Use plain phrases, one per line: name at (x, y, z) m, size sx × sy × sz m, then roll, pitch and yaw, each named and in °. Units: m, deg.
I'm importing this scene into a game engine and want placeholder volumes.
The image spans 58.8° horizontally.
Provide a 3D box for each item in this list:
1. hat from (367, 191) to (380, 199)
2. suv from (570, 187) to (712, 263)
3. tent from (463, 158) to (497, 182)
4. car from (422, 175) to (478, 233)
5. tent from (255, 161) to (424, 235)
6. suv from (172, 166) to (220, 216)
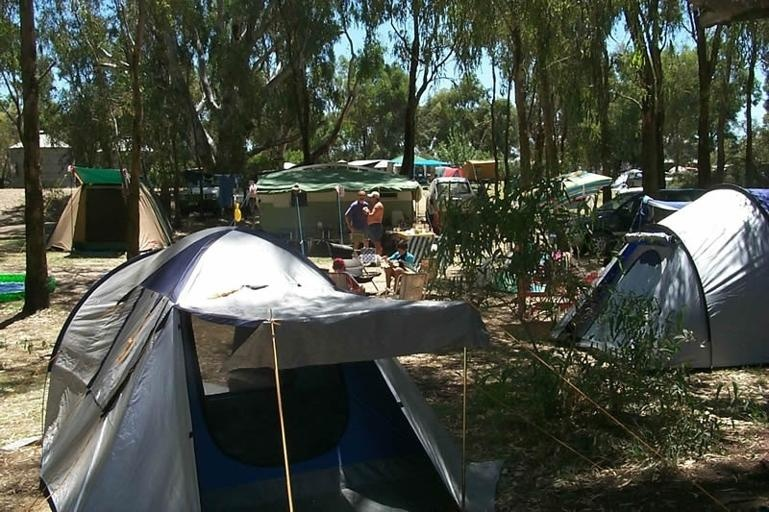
hat at (-0.348, -1.663, 18.478) m, size 0.319 × 0.147 × 0.241 m, roll 6°, pitch 7°, yaw 13°
suv at (4.713, -0.568, 12.609) m, size 2.555 × 1.524 × 1.681 m, roll 0°, pitch 8°, yaw 2°
tent at (5.368, -4.917, 39.200) m, size 1.465 × 1.059 × 3.293 m, roll 2°, pitch 8°, yaw 19°
car at (1.539, -1.524, 17.952) m, size 1.461 × 1.793 × 3.050 m, roll -3°, pitch 6°, yaw -6°
tent at (-1.708, -1.737, 20.923) m, size 2.731 × 1.841 × 2.931 m, roll -5°, pitch 10°, yaw -24°
suv at (-7.470, -2.636, 27.451) m, size 1.168 × 1.528 × 2.296 m, roll 0°, pitch -1°, yaw -5°
